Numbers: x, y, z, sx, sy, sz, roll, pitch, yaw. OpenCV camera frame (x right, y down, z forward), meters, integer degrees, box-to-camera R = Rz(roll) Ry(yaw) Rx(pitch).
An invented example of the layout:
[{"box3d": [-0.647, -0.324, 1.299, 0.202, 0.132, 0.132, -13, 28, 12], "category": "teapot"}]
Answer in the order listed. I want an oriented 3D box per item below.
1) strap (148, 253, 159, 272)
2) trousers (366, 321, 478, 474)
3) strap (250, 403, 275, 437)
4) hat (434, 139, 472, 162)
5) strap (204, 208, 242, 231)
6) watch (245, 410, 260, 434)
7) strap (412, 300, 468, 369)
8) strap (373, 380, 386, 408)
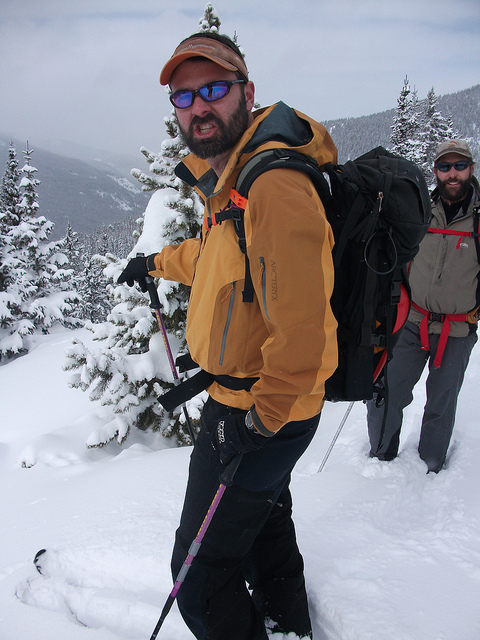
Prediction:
[{"box3d": [-0.641, -0.421, 4.809, 0.044, 0.106, 0.079, 0, 12, 3], "category": "strap"}, {"box3d": [1.527, 0.568, 5.583, 0.891, 1.349, 1.000, -1, 22, 1], "category": "trousers"}, {"box3d": [0.105, 0.492, 3.177, 0.034, 0.128, 0.114, -40, 46, -14], "category": "strap"}, {"box3d": [1.798, -1.421, 5.451, 0.307, 0.181, 0.264, 7, 13, 20], "category": "hat"}, {"box3d": [-0.073, -0.521, 3.305, 0.140, 0.044, 0.106, -11, -9, 33], "category": "strap"}, {"box3d": [0.062, 0.508, 3.208, 0.071, 0.092, 0.045, -9, 2, -12], "category": "watch"}, {"box3d": [1.629, 0.108, 5.290, 0.335, 0.450, 0.287, 12, 21, 36], "category": "strap"}, {"box3d": [0.829, 0.444, 3.840, 0.063, 0.161, 0.114, 5, 6, 2], "category": "strap"}]
